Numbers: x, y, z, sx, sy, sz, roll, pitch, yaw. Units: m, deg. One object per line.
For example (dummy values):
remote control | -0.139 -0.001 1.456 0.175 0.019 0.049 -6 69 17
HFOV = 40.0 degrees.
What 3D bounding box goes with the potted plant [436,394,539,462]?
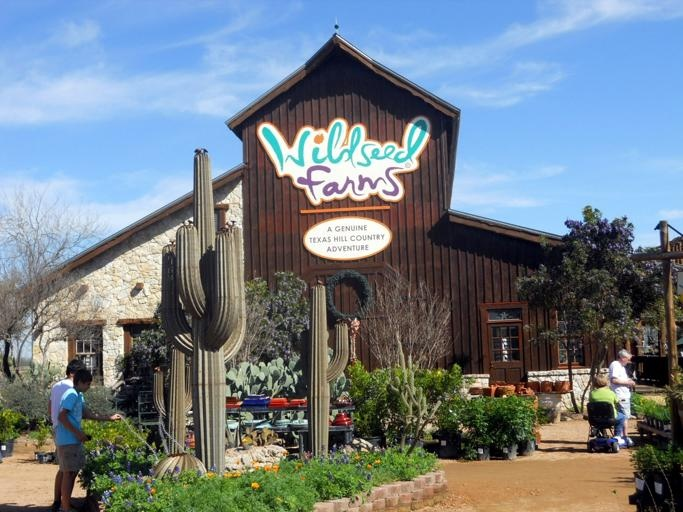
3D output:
potted plant | 2.979 3.581 19.484 1.910 1.231 0.573 -2 -7 7
